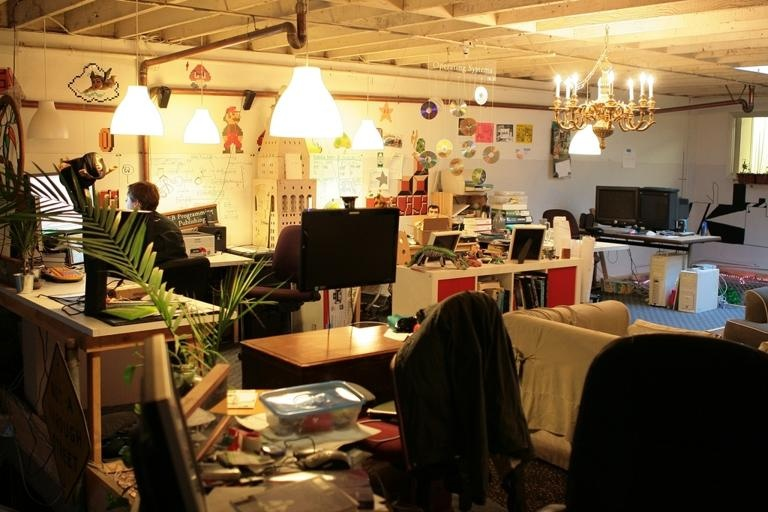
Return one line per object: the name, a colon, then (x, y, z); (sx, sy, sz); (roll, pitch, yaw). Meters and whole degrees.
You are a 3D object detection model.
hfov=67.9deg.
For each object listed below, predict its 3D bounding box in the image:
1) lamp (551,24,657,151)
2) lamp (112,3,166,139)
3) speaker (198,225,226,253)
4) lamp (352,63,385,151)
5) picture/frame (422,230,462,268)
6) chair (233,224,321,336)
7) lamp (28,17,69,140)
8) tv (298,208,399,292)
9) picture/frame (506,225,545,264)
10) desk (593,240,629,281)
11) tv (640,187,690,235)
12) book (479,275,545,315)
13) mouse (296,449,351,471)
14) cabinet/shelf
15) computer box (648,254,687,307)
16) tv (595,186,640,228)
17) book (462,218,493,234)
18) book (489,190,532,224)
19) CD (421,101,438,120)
lamp: (2.446, -1.832, 6.398); (1.065, 1.243, 1.092); (-8, 13, -31)
lamp: (-2.059, -1.210, 4.739); (0.383, 0.387, 0.265); (-2, 8, -25)
speaker: (-2.000, -0.206, 6.803); (0.212, 0.370, 0.383); (-6, 10, -41)
lamp: (-0.202, -1.868, 7.043); (0.403, 1.094, 0.408); (-10, 17, -37)
picture/frame: (0.590, -0.093, 5.904); (0.408, 0.374, 0.331); (-7, 14, -40)
chair: (-1.172, 0.332, 6.064); (0.795, 1.464, 0.883); (-4, 10, -44)
lamp: (-3.450, -1.880, 5.771); (0.384, 1.366, 0.386); (1, 16, -20)
tv: (-0.215, -0.050, 3.537); (0.661, 0.491, 0.084); (-2, 7, -27)
picture/frame: (1.554, -0.116, 6.213); (0.396, 0.390, 0.141); (1, 15, -22)
desk: (4.052, 0.086, 10.223); (0.677, 0.648, 0.687); (1, 6, 25)
tv: (4.624, -0.712, 9.299); (0.724, 0.787, 0.766); (-3, 3, -30)
book: (1.441, 0.388, 6.206); (0.902, 0.475, 0.435); (-9, 16, -37)
mouse: (-0.241, 0.840, 2.353); (0.139, 0.053, 0.104); (-8, -11, 14)
cabinet/shelf: (0.810, 0.268, 5.913); (2.380, 0.547, 0.695); (-6, 11, -35)
computer box: (4.505, 0.376, 9.206); (0.508, 0.808, 0.569); (-4, 10, -21)
tv: (3.904, -0.838, 9.573); (0.552, 0.850, 0.894); (-6, 7, -41)
book: (1.318, -0.429, 8.004); (0.458, 0.194, 0.233); (-2, 8, -26)
book: (1.981, -0.748, 8.809); (0.577, 0.489, 0.579); (0, 7, -16)
CD: (0.620, -1.985, 7.739); (0.205, 0.231, 0.249); (2, 7, 2)
